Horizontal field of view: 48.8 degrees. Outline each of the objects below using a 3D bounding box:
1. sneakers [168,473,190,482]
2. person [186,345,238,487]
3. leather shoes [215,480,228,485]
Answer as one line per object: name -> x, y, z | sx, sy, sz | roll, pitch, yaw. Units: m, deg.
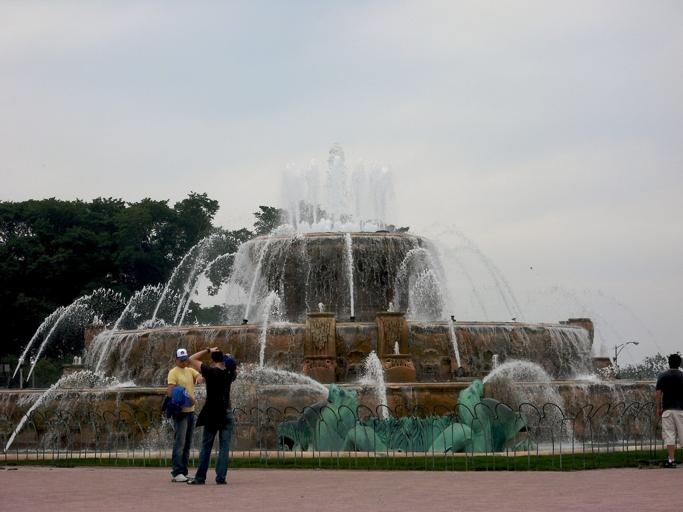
sneakers -> -2.143, 2.895, 9.873 | 0.278, 0.112, 0.103 | -6, -9, 28
person -> -1.718, 2.045, 9.829 | 0.599, 1.782, 0.688 | 4, -21, -10
leather shoes -> -1.537, 2.879, 9.607 | 0.145, 0.057, 0.150 | 6, -21, -17
